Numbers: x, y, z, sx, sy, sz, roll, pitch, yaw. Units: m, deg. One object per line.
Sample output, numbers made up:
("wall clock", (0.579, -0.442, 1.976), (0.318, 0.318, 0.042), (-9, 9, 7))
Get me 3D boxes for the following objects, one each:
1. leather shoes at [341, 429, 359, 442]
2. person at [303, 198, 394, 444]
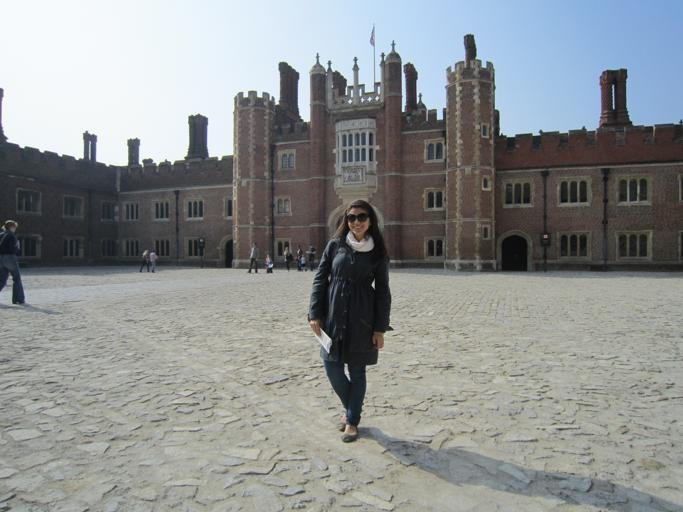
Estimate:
("leather shoes", (0.107, 1.847, 6.292), (0.219, 0.097, 0.123), (-7, 16, -24))
("person", (0.094, 0.599, 6.530), (0.845, 2.384, 0.831), (-13, 18, -42))
